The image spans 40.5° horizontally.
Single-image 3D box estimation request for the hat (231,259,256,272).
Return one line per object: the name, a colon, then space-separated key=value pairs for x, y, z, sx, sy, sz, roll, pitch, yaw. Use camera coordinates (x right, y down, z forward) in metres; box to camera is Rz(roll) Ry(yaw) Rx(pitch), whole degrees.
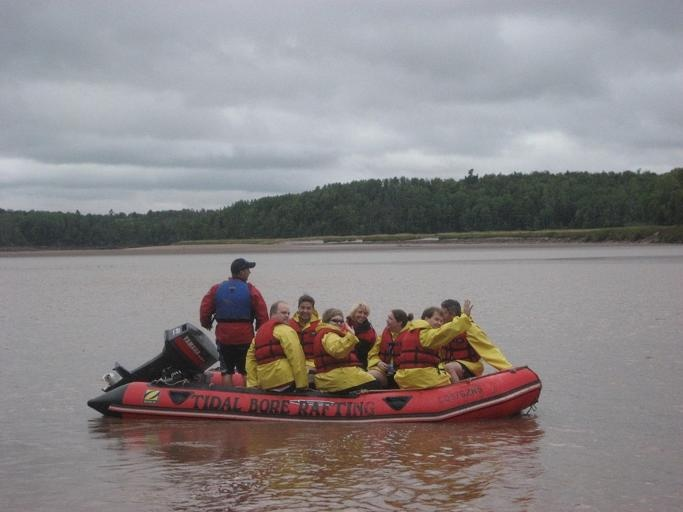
hat: x=-1.869 y=0.185 z=17.926 sx=0.440 sy=0.186 sz=0.279 roll=-10 pitch=15 yaw=-34
